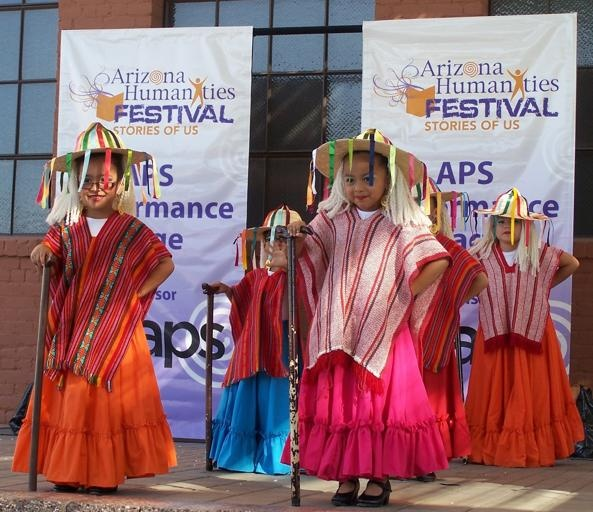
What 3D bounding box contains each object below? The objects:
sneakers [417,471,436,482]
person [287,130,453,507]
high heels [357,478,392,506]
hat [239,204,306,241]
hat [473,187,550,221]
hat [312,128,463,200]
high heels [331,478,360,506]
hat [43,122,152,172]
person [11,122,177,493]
[{"bbox_3d":[0.823,1.391,8.074,0.065,0.074,0.187,3,-11,-31],"label":"sneakers"},{"bbox_3d":[0.405,0.339,7.447,0.928,2.164,0.567,1,0,-1],"label":"person"},{"bbox_3d":[0.446,1.361,7.331,0.095,0.100,0.245,-6,-17,31],"label":"high heels"},{"bbox_3d":[-0.151,-0.213,8.614,0.250,0.138,0.350,12,-12,-28],"label":"hat"},{"bbox_3d":[1.499,-0.345,9.032,0.304,0.136,0.320,9,13,44],"label":"hat"},{"bbox_3d":[0.492,-0.519,7.598,0.680,0.284,0.382,22,-31,-36],"label":"hat"},{"bbox_3d":[0.281,1.344,7.322,0.169,0.157,0.170,1,0,-12],"label":"high heels"},{"bbox_3d":[-1.287,-0.731,8.573,0.451,0.191,0.454,-1,-14,-12],"label":"hat"},{"bbox_3d":[-1.186,0.287,7.732,0.931,2.219,0.659,1,0,-7],"label":"person"}]
